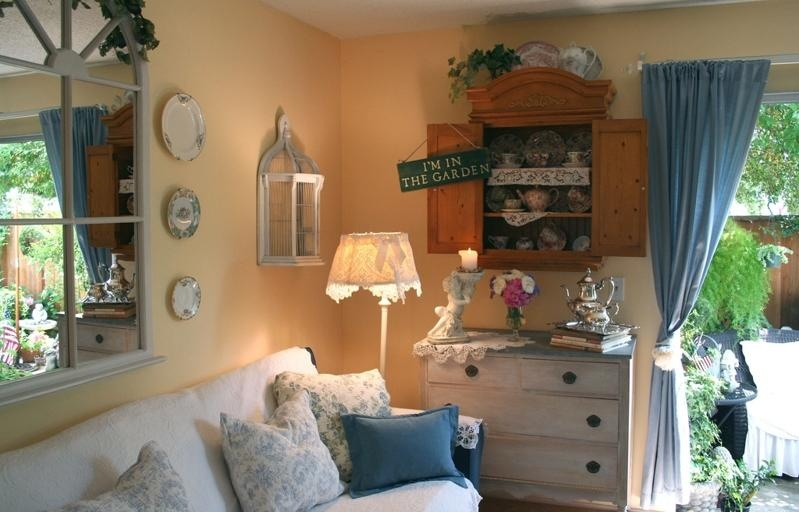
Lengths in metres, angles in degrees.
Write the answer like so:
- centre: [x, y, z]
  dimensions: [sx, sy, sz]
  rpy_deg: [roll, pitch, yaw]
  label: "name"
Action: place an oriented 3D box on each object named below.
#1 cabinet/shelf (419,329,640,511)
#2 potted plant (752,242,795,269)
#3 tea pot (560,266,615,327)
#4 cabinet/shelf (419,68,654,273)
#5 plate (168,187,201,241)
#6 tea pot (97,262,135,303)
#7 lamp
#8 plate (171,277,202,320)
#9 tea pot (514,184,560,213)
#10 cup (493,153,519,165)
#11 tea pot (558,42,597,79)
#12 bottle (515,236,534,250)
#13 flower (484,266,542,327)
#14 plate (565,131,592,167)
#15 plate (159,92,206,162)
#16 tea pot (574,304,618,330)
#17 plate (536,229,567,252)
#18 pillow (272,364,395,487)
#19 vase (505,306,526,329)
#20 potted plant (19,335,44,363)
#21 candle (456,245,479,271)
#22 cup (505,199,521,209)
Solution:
- centre: [0.823, 1.053, 3.792]
  dimensions: [1.189, 0.994, 0.536]
  rpy_deg: [-1, -4, 20]
  label: "cabinet/shelf"
- centre: [2.777, -0.006, 4.441]
  dimensions: [0.203, 0.138, 0.198]
  rpy_deg: [-2, 1, -44]
  label: "potted plant"
- centre: [1.271, 0.280, 3.974]
  dimensions: [0.351, 0.396, 0.235]
  rpy_deg: [4, 10, 37]
  label: "tea pot"
- centre: [0.989, -0.566, 4.050]
  dimensions: [1.448, 1.347, 0.393]
  rpy_deg: [0, 0, 21]
  label: "cabinet/shelf"
- centre: [-1.239, -0.242, 3.440]
  dimensions: [0.058, 0.273, 0.218]
  rpy_deg: [-2, 0, 24]
  label: "plate"
- centre: [-1.510, 0.127, 3.158]
  dimensions: [0.214, 0.214, 0.135]
  rpy_deg: [-3, 16, -34]
  label: "tea pot"
- centre: [-0.125, 0.438, 4.011]
  dimensions: [0.554, 1.237, 0.532]
  rpy_deg: [-1, 13, 7]
  label: "lamp"
- centre: [-1.234, 0.243, 3.468]
  dimensions: [0.049, 0.240, 0.209]
  rpy_deg: [-2, 0, 24]
  label: "plate"
- centre: [0.939, -0.392, 4.140]
  dimensions: [0.300, 0.200, 0.179]
  rpy_deg: [2, 7, 29]
  label: "tea pot"
- centre: [0.755, -0.669, 4.175]
  dimensions: [0.110, 0.073, 0.109]
  rpy_deg: [1, 7, 0]
  label: "cup"
- centre: [1.206, -1.292, 4.091]
  dimensions: [0.267, 0.238, 0.292]
  rpy_deg: [5, 8, -1]
  label: "tea pot"
- centre: [0.866, -0.087, 4.153]
  dimensions: [0.098, 0.099, 0.094]
  rpy_deg: [2, -3, -20]
  label: "bottle"
- centre: [0.790, 0.262, 4.116]
  dimensions: [0.371, 0.388, 0.384]
  rpy_deg: [0, 3, 32]
  label: "flower"
- centre: [1.233, -0.724, 4.086]
  dimensions: [0.240, 0.241, 0.064]
  rpy_deg: [6, -7, 6]
  label: "plate"
- centre: [-1.236, -0.732, 3.410]
  dimensions: [0.043, 0.320, 0.308]
  rpy_deg: [6, 3, 35]
  label: "plate"
- centre: [1.337, 0.388, 3.972]
  dimensions: [0.175, 0.120, 0.266]
  rpy_deg: [-4, -4, 44]
  label: "tea pot"
- centre: [1.051, -0.106, 4.124]
  dimensions: [0.162, 0.163, 0.043]
  rpy_deg: [7, 1, 17]
  label: "plate"
- centre: [-0.559, 1.026, 3.648]
  dimensions: [0.803, 0.815, 0.239]
  rpy_deg: [0, 5, 39]
  label: "pillow"
- centre: [0.794, 0.418, 4.180]
  dimensions: [0.154, 0.220, 0.157]
  rpy_deg: [-3, 4, 1]
  label: "vase"
- centre: [-1.763, 0.440, 2.870]
  dimensions: [0.120, 0.117, 0.117]
  rpy_deg: [-1, -2, 17]
  label: "potted plant"
- centre: [0.473, 0.028, 4.109]
  dimensions: [0.148, 0.151, 0.125]
  rpy_deg: [-1, -1, 17]
  label: "candle"
- centre: [0.775, -0.361, 4.108]
  dimensions: [0.067, 0.055, 0.075]
  rpy_deg: [4, 7, 42]
  label: "cup"
